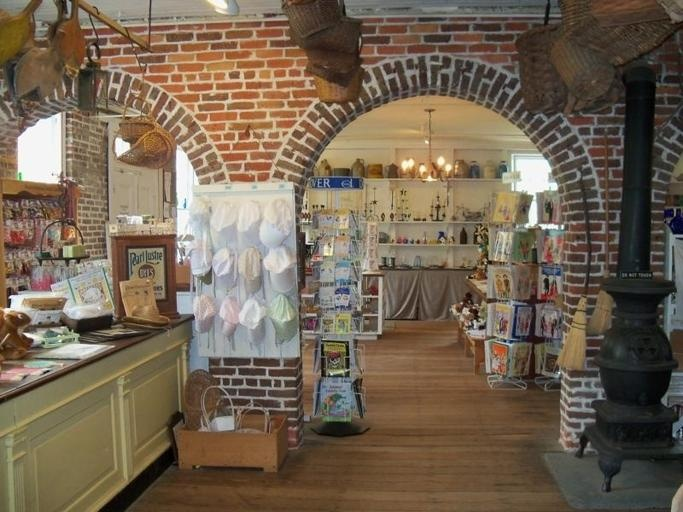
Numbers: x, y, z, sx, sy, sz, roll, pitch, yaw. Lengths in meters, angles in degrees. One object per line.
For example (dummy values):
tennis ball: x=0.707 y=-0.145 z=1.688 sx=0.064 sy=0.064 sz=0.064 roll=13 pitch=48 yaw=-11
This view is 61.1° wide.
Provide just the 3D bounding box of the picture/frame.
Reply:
picture/frame: x=-1.716 y=0.135 z=5.093 sx=0.531 sy=0.758 sz=0.252 roll=-4 pitch=19 yaw=-26

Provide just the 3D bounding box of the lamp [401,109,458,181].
lamp: x=1.665 y=-2.187 z=11.061 sx=0.882 sy=1.358 sz=0.899 roll=-1 pitch=5 yaw=-22

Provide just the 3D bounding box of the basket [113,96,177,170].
basket: x=-1.610 y=-1.031 z=4.928 sx=0.550 sy=0.470 sz=0.571 roll=4 pitch=18 yaw=-3
